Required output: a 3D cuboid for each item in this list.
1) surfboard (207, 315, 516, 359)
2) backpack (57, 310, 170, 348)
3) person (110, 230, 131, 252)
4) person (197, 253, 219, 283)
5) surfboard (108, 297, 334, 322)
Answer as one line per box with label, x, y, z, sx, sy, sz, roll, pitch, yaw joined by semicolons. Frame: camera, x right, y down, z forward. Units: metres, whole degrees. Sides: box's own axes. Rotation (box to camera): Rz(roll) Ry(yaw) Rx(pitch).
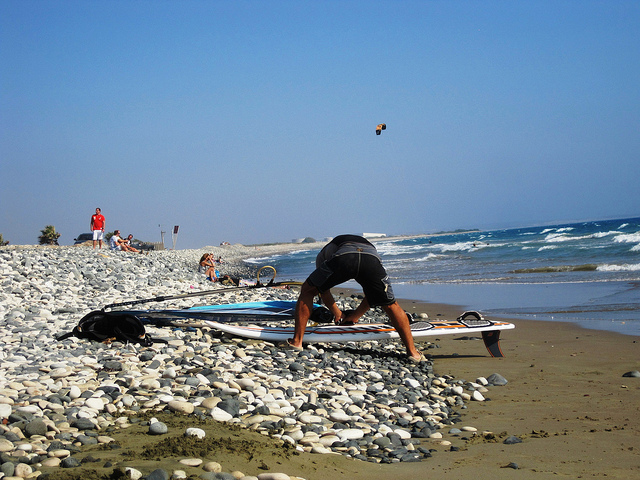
surfboard;0.550;1.525;8.707;5.375;0.580;0.944;0;-1;-14
backpack;-2.852;1.236;7.431;0.933;0.219;0.844;-7;6;11
person;-8.832;0.141;24.590;1.065;1.078;0.542;-9;36;-27
person;-4.118;0.963;20.510;0.465;0.936;1.801;-2;-1;-18
surfboard;-1.737;1.193;9.481;2.667;0.253;0.739;-4;-1;-6
